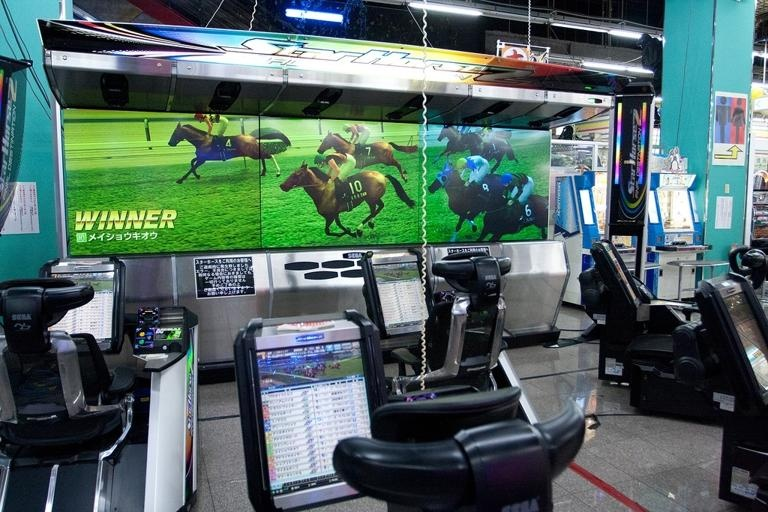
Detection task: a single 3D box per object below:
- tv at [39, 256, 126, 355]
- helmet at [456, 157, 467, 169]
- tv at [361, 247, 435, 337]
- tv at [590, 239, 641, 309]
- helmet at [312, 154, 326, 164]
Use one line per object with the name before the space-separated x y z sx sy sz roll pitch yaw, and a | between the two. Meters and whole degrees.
tv | -2.628 0.383 4.538 0.824 0.959 0.380 0 -3 -20
helmet | 1.038 -1.242 6.726 0.149 0.125 0.122 -8 -14 31
tv | 0.114 0.350 5.125 0.690 0.865 0.381 -6 -5 -20
tv | 2.516 0.251 5.402 0.336 0.831 0.515 -8 0 33
helmet | -0.785 -1.194 6.145 0.127 0.103 0.101 1 0 -10
